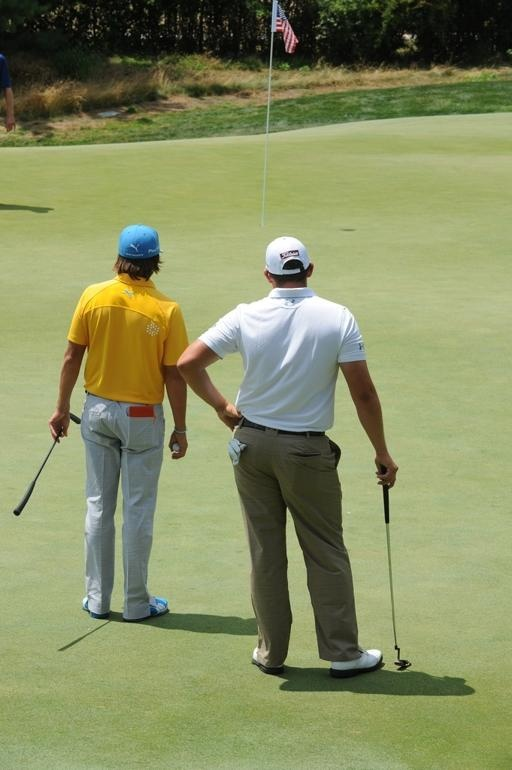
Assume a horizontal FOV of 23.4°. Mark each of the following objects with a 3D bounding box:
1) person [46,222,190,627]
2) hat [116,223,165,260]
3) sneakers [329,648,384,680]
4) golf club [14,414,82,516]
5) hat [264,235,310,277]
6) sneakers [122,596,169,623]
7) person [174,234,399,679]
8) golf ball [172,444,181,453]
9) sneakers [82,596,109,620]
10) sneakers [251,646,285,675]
[{"bbox_3d":[-0.507,0.146,4.532,0.518,1.431,0.424,-2,13,-6],"label":"person"},{"bbox_3d":[-0.424,-0.528,4.525,0.112,0.079,0.161,4,22,4],"label":"hat"},{"bbox_3d":[0.346,0.937,4.151,0.210,0.087,0.068,-11,12,-18],"label":"sneakers"},{"bbox_3d":[-1.011,0.412,5.971,0.153,0.495,0.042,3,-34,51],"label":"golf club"},{"bbox_3d":[0.101,-0.420,4.122,0.115,0.083,0.159,-3,9,-1],"label":"hat"},{"bbox_3d":[-0.404,0.817,4.574,0.069,0.080,0.191,12,16,34],"label":"sneakers"},{"bbox_3d":[0.105,0.322,4.095,0.707,1.274,0.300,1,13,5],"label":"person"},{"bbox_3d":[-0.302,0.240,4.620,0.027,0.033,0.009,1,12,19],"label":"golf ball"},{"bbox_3d":[-0.598,0.831,4.600,0.049,0.056,0.138,1,15,-17],"label":"sneakers"},{"bbox_3d":[0.041,0.942,4.170,0.053,0.053,0.126,6,-1,-25],"label":"sneakers"}]
